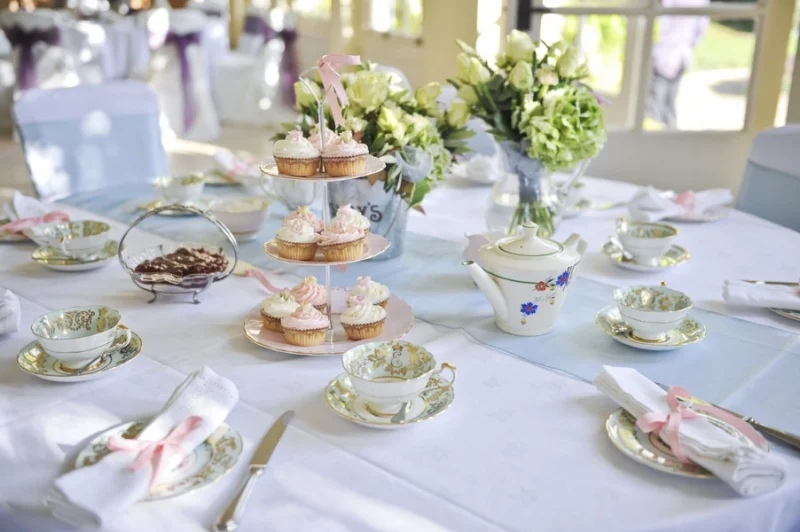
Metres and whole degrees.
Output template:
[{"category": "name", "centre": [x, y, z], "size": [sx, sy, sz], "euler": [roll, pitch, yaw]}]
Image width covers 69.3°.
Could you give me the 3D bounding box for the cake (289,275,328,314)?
[{"category": "cake", "centre": [-0.192, 0.058, 1.247], "size": [0.079, 0.084, 0.074], "euler": [-2, 12, -1]}]

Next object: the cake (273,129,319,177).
[{"category": "cake", "centre": [-0.210, -0.231, 1.190], "size": [0.099, 0.086, 0.098], "euler": [2, 18, -3]}]

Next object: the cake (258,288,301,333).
[{"category": "cake", "centre": [-0.265, 0.094, 1.282], "size": [0.089, 0.085, 0.088], "euler": [2, 11, -3]}]

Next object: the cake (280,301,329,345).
[{"category": "cake", "centre": [-0.207, 0.117, 1.213], "size": [0.080, 0.067, 0.092], "euler": [1, 3, -3]}]

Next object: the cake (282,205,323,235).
[{"category": "cake", "centre": [-0.212, -0.105, 1.260], "size": [0.068, 0.042, 0.069], "euler": [20, 14, 36]}]

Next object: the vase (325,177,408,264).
[{"category": "vase", "centre": [-0.102, -0.136, 1.634], "size": [0.207, 0.196, 0.219], "euler": [-3, 14, -5]}]

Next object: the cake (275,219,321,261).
[{"category": "cake", "centre": [-0.213, -0.053, 1.204], "size": [0.089, 0.079, 0.088], "euler": [4, 11, -2]}]

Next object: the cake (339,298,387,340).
[{"category": "cake", "centre": [-0.078, 0.113, 1.208], "size": [0.082, 0.066, 0.090], "euler": [0, 7, 10]}]

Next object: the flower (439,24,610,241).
[{"category": "flower", "centre": [0.333, -0.395, 1.648], "size": [0.474, 0.551, 0.510], "euler": [-15, 25, -41]}]

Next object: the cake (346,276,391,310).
[{"category": "cake", "centre": [-0.070, 0.058, 1.270], "size": [0.066, 0.056, 0.077], "euler": [-1, 6, -3]}]

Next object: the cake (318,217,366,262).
[{"category": "cake", "centre": [-0.125, -0.055, 1.182], "size": [0.079, 0.067, 0.091], "euler": [0, 6, 3]}]
